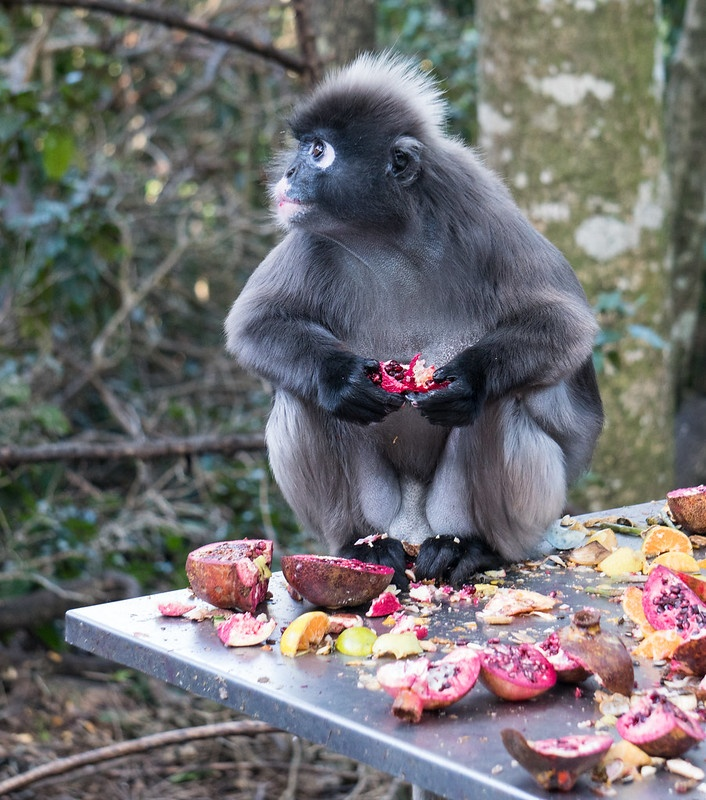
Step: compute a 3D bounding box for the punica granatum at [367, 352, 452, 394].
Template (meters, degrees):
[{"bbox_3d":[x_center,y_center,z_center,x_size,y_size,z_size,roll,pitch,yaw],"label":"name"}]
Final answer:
[{"bbox_3d":[0.136,-0.062,2.927,0.193,0.087,0.175,-5,7,-7],"label":"punica granatum"}]
